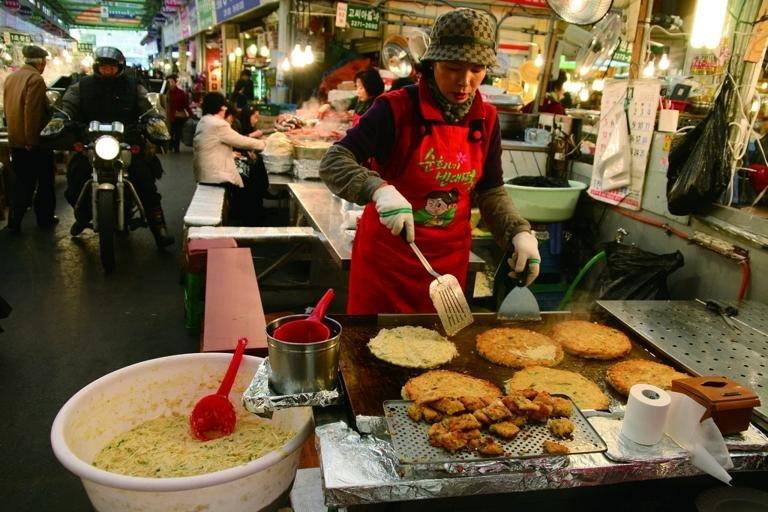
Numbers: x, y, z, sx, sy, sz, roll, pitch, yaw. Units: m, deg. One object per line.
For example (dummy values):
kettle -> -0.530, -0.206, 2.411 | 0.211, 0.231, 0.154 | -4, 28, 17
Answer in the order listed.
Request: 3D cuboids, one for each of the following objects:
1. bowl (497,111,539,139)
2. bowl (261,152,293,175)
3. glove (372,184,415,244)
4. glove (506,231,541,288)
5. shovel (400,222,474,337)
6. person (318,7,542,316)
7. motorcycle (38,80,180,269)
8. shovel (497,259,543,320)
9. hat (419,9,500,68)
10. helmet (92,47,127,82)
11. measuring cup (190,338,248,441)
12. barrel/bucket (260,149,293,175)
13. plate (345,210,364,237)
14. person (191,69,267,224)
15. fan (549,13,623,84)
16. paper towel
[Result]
bowl -> 1.685, -1.670, 6.690 | 0.644, 0.326, 0.798 | 0, 13, -3
bowl -> -1.508, -1.328, 7.479 | 0.361, 0.234, 0.315 | -2, 16, -13
glove -> 0.050, -0.221, 2.804 | 0.189, 0.316, 0.104 | -29, -3, -3
glove -> 0.807, 0.018, 3.026 | 0.171, 0.307, 0.258 | 6, 18, 16
shovel -> 0.345, 0.120, 2.900 | 0.364, 0.574, 0.367 | 14, 16, 41
person -> 0.151, -0.501, 3.224 | 1.032, 2.190, 0.952 | 1, 12, -10
motorcycle -> -3.455, -1.356, 6.743 | 1.559, 2.724, 1.510 | 1, 20, -16
shovel -> 0.782, 0.191, 3.015 | 0.251, 0.427, 0.046 | -1, 30, 7
hat -> 0.405, -1.179, 2.821 | 0.397, 0.310, 0.249 | 2, 17, 3
helmet -> -3.448, -2.424, 6.582 | 0.365, 0.378, 0.275 | -8, 19, -26
measuring cup -> -0.776, 0.644, 2.647 | 0.234, 0.564, 0.150 | 24, -12, -12
barrel/bucket -> -1.489, -1.329, 7.382 | 0.381, 0.244, 0.316 | 1, 19, -9
plate -> -0.268, -0.247, 4.406 | 0.088, 0.233, 0.177 | 12, 9, -44
person -> -2.351, -1.562, 8.020 | 1.165, 2.317, 1.137 | -1, 17, -13
fan -> 2.203, -2.167, 5.570 | 0.606, 0.718, 0.512 | 10, 29, 26
paper towel -> 1.181, 0.727, 2.268 | 0.338, 0.202, 0.518 | -6, 27, -40
